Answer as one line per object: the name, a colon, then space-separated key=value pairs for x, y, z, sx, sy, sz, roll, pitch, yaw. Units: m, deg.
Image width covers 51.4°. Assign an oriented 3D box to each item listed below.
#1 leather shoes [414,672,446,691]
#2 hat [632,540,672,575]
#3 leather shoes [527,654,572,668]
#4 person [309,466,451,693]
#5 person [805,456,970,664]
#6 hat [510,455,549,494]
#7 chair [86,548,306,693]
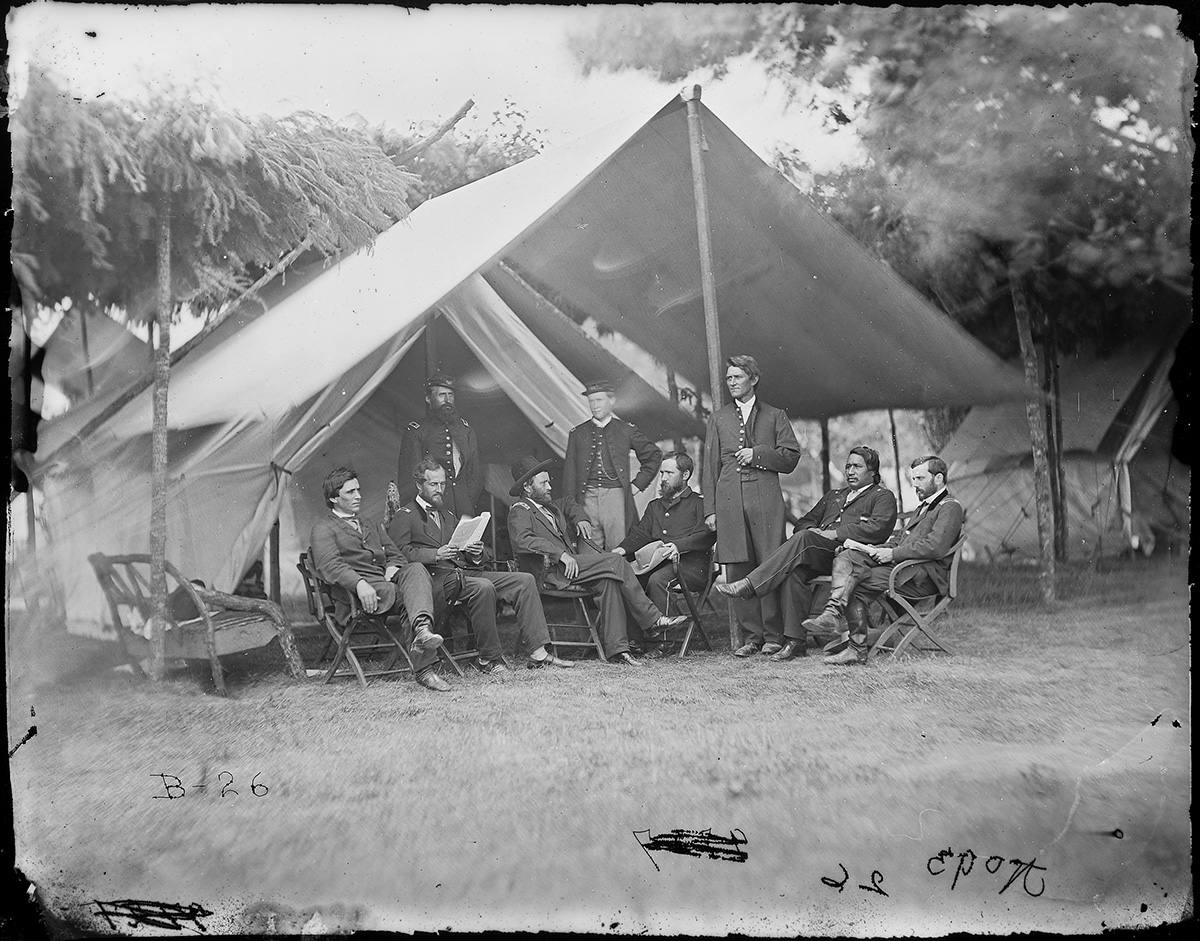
leather shoes: x=-0.905 y=1.138 z=6.729 sx=0.202 sy=0.103 sz=0.076 roll=4 pitch=8 yaw=24
hat: x=0.315 y=0.519 z=7.471 sx=0.192 sy=0.090 sz=0.181 roll=-35 pitch=7 yaw=15
leather shoes: x=-0.286 y=1.097 z=7.101 sx=0.252 sy=0.118 sz=0.093 roll=-4 pitch=-3 yaw=-1
person: x=-1.197 y=0.610 z=6.923 sx=0.760 sy=1.026 sz=0.402 roll=-7 pitch=-2 yaw=22
person: x=1.593 y=0.500 z=6.858 sx=0.851 sy=1.118 sz=0.370 roll=-6 pitch=-2 yaw=11
hat: x=-0.455 y=0.081 z=7.758 sx=0.205 sy=0.092 sz=0.232 roll=-32 pitch=-6 yaw=-46
chair: x=-2.124 y=0.766 z=7.008 sx=0.846 sy=0.607 sz=0.726 roll=1 pitch=6 yaw=-11
